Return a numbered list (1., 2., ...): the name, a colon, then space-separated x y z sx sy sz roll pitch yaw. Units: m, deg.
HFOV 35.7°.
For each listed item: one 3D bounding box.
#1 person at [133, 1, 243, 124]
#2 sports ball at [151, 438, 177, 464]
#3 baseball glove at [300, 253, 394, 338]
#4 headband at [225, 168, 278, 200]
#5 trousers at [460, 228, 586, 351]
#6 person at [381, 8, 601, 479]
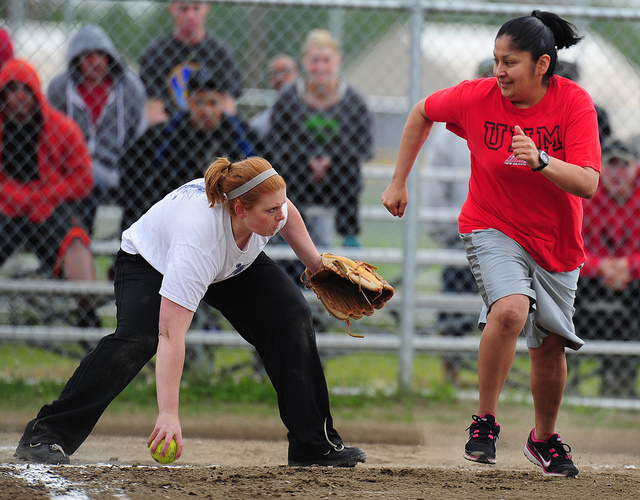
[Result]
1. person: -0.927 -1.293 6.957 0.773 0.804 0.370 0 1 -3
2. sports ball: -0.803 1.031 5.124 0.117 0.146 0.109 0 1 0
3. baseball glove: 0.097 0.193 5.793 0.419 0.266 0.556 -9 34 -45
4. headband: -0.367 -0.327 5.308 0.198 0.052 0.170 -29 -3 6
5. trousers: 1.202 0.198 5.711 0.690 0.767 0.470 16 -27 -9
6. person: 1.028 -0.020 5.507 0.981 2.608 0.691 0 1 4
